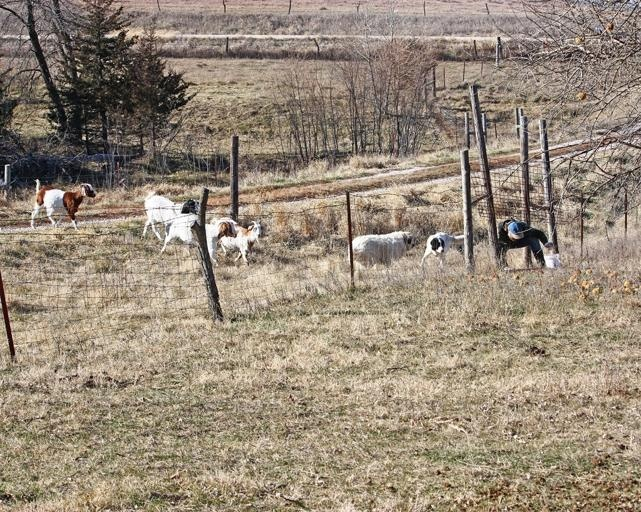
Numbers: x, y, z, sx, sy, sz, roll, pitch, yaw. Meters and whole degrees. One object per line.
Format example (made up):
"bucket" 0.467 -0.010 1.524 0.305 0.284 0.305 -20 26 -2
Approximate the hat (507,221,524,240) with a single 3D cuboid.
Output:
"hat" 5.756 -0.795 40.940 0.489 0.851 0.413 -4 9 10

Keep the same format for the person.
"person" 5.929 -0.255 41.049 2.074 1.396 0.952 7 -6 30

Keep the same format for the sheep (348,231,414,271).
"sheep" 1.808 -0.268 42.413 2.083 1.540 0.803 -7 13 -26

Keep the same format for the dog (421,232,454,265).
"dog" 3.531 -0.249 41.921 1.084 0.832 1.092 -7 7 3

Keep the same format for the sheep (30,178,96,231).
"sheep" -8.804 -1.794 46.514 2.102 1.754 2.691 -9 7 -13
